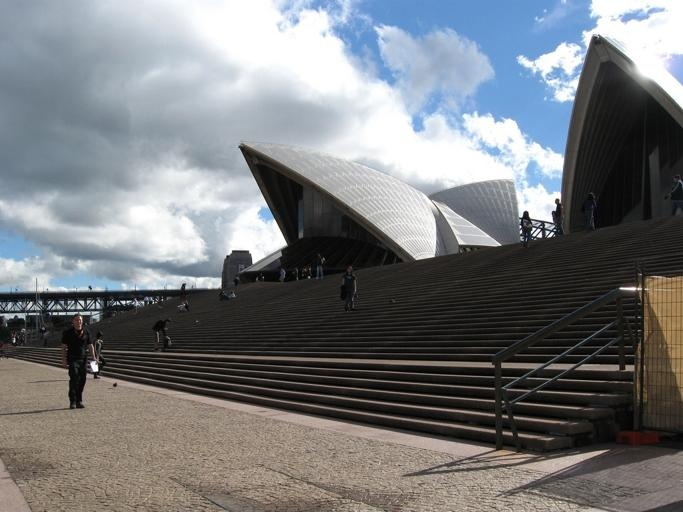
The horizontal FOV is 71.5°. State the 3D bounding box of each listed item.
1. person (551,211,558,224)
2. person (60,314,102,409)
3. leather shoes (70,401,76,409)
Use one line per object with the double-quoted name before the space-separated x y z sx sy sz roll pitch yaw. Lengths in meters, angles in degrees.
"person" 9.260 -1.714 20.718 0.156 0.544 0.909 -6 -7 28
"person" -4.575 1.777 8.185 0.403 1.567 0.693 2 -8 -30
"leather shoes" -4.525 2.496 8.062 0.134 0.124 0.082 -7 -12 37
